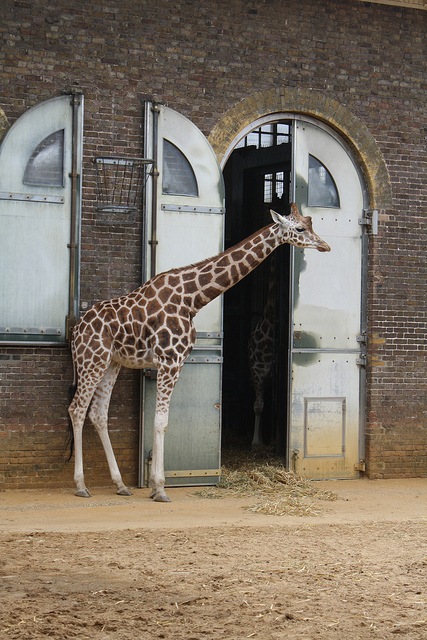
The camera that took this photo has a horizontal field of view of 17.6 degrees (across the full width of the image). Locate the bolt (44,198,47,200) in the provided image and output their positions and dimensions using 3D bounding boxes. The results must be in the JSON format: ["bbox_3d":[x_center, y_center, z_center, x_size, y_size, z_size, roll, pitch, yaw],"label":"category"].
[{"bbox_3d":[-1.313,-0.949,10.796,0.012,0.015,0.012,3,-1,-8],"label":"bolt"}]

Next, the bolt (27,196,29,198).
[{"bbox_3d":[-1.441,-0.957,10.739,0.011,0.026,0.014,1,22,2],"label":"bolt"}]

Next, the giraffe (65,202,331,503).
[{"bbox_3d":[-0.309,0.253,10.710,1.654,2.241,0.638,1,4,-9],"label":"giraffe"}]
